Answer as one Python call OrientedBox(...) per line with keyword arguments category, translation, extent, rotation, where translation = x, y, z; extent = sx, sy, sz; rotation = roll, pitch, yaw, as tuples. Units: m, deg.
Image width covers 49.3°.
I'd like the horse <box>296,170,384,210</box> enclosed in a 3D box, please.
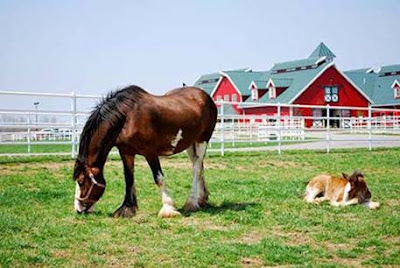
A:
OrientedBox(category="horse", translation=(2.930, 1.177, 9.116), extent=(1.620, 0.686, 0.597), rotation=(-2, -12, 43))
